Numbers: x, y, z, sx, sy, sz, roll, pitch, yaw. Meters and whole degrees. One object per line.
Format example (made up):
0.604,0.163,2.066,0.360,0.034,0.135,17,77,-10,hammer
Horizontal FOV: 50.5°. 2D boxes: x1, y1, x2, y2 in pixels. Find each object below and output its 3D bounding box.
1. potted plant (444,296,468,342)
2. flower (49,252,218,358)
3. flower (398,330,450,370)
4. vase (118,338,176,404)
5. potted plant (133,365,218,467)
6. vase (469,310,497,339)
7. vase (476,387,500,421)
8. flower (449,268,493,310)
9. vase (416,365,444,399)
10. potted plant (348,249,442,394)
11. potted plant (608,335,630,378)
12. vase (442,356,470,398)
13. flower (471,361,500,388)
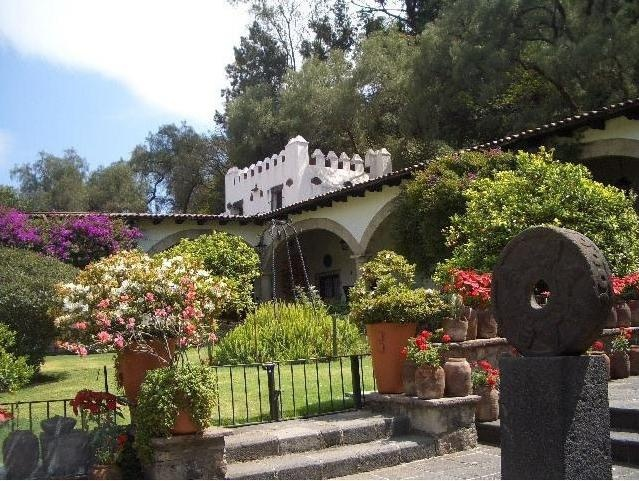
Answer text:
1.744,0.998,8.684,0.302,0.582,0.266,-3,-10,3,potted plant
-2.122,0.715,7.797,1.226,1.018,1.341,-1,-14,-5,flower
1.376,1.375,8.557,0.618,0.473,0.660,-3,-12,-1,flower
-1.981,1.521,8.053,0.674,0.790,0.687,-5,-8,26,vase
-1.495,1.702,7.351,0.618,0.781,0.501,-12,12,-9,potted plant
2.182,1.102,9.071,0.231,0.414,0.660,-12,-14,40,vase
2.140,2.074,8.647,0.281,0.448,0.145,-3,-10,1,vase
2.114,0.635,9.251,0.473,0.403,0.515,-4,6,-31,flower
1.336,1.713,8.259,0.324,0.380,0.357,3,-10,-5,vase
0.871,1.019,9.148,0.868,1.525,0.868,-3,1,9,potted plant
4.481,1.732,10.121,0.287,0.629,0.465,-8,-12,24,potted plant
1.714,1.689,8.504,0.319,0.479,0.432,1,-2,-31,vase
2.132,1.718,8.727,0.308,0.355,0.297,-9,-12,25,flower
